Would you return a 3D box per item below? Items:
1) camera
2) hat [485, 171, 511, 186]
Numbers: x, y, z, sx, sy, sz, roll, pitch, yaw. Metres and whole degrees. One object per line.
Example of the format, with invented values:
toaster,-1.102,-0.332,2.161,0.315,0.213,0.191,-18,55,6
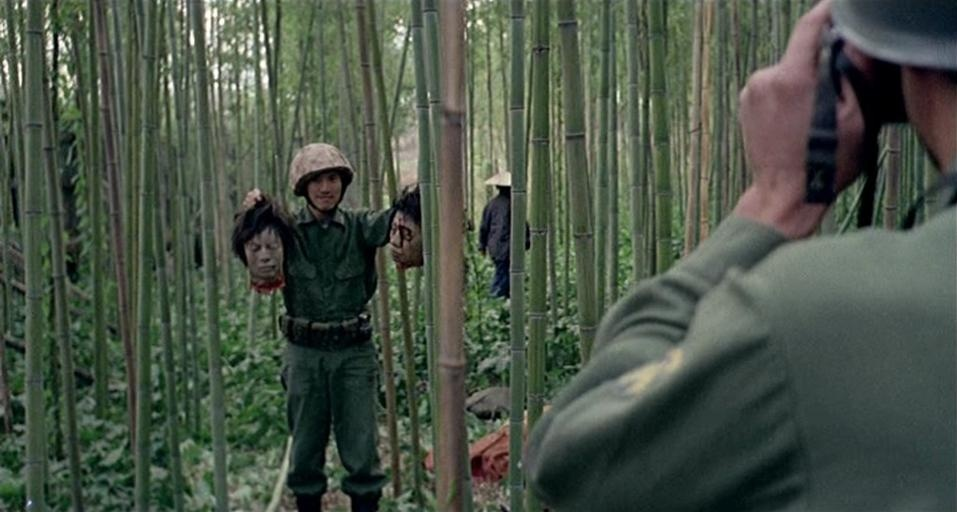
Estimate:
camera,2.251,-0.998,7.199,0.242,0.481,0.332,-12,10,-25
hat,0.229,-0.847,13.383,0.335,0.152,0.356,-1,3,-2
